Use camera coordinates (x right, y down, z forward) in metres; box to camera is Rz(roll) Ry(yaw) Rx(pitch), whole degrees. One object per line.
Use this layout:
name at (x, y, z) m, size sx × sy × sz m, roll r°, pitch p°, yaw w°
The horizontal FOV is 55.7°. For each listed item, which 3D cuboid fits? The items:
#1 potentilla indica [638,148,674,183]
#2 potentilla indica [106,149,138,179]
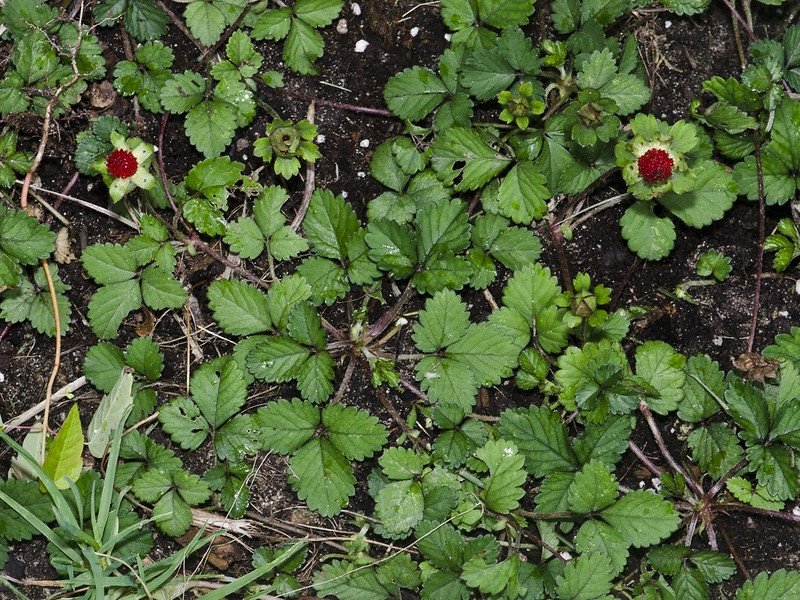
potentilla indica at (1.021, -0.528, 3.000) m, size 0.114 × 0.067 × 0.142 m, roll -2°, pitch 89°, yaw -1°
potentilla indica at (-1.150, -0.556, 3.115) m, size 0.123 × 0.054 × 0.112 m, roll -6°, pitch 67°, yaw 0°
